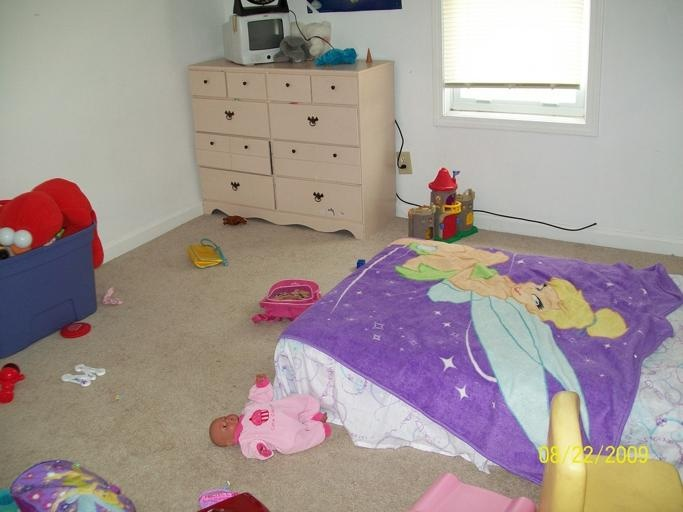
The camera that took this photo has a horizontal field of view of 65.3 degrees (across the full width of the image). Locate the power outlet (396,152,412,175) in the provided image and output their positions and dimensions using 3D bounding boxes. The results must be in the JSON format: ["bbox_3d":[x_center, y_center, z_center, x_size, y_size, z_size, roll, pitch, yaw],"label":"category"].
[{"bbox_3d":[0.523,-0.788,4.476,0.157,0.283,0.045,4,26,23],"label":"power outlet"}]

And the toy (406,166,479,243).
[{"bbox_3d":[0.813,-0.401,4.177,0.490,0.452,0.253,-21,27,-39],"label":"toy"}]

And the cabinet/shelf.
[{"bbox_3d":[-0.473,-0.976,4.605,1.553,1.358,0.667,9,28,20],"label":"cabinet/shelf"}]

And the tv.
[{"bbox_3d":[-0.707,-1.874,4.351,0.452,0.378,0.464,-22,37,-34],"label":"tv"}]
